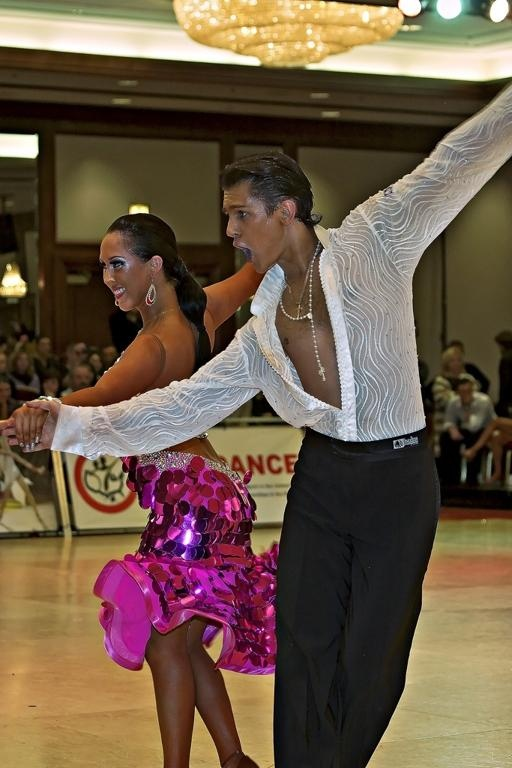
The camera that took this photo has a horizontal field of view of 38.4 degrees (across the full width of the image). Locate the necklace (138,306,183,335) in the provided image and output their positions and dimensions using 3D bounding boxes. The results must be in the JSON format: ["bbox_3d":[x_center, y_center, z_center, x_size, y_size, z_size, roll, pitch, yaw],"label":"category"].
[{"bbox_3d":[-0.255,-0.161,1.898,0.082,0.027,0.100,2,-5,-38],"label":"necklace"}]

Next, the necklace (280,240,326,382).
[{"bbox_3d":[0.089,-0.144,1.440,0.096,0.247,0.022,-14,1,17],"label":"necklace"}]
